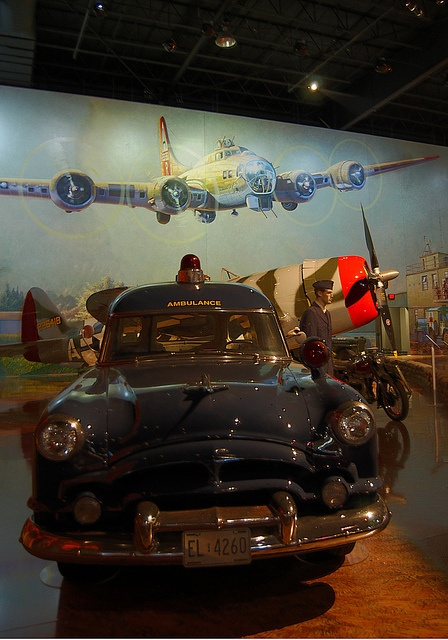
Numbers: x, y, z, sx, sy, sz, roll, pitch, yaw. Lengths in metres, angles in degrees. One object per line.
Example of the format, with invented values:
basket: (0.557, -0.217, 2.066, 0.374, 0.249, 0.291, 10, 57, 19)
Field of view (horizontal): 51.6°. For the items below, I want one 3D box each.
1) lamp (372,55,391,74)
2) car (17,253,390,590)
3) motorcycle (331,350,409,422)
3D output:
lamp: (4.649, -7.477, 13.677, 0.545, 0.715, 0.256, -2, -21, -2)
car: (-0.098, 0.368, 2.413, 1.085, 0.874, 1.886, -1, -5, -7)
motorcycle: (1.924, 0.786, 6.140, 0.765, 0.730, 1.486, -11, 3, -26)
